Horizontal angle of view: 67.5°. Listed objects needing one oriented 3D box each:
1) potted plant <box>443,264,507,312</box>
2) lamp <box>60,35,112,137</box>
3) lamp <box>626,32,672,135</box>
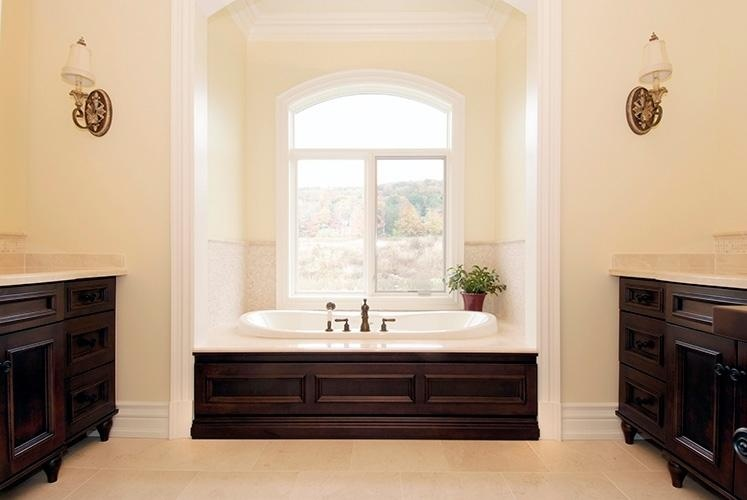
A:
[{"bbox_3d":[0.977,0.356,5.264,0.511,0.393,0.557,-1,5,0],"label":"potted plant"},{"bbox_3d":[-2.127,-1.171,3.996,0.362,0.724,0.315,2,6,29],"label":"lamp"},{"bbox_3d":[1.962,-1.149,3.922,0.384,0.651,0.391,-3,2,23],"label":"lamp"}]
